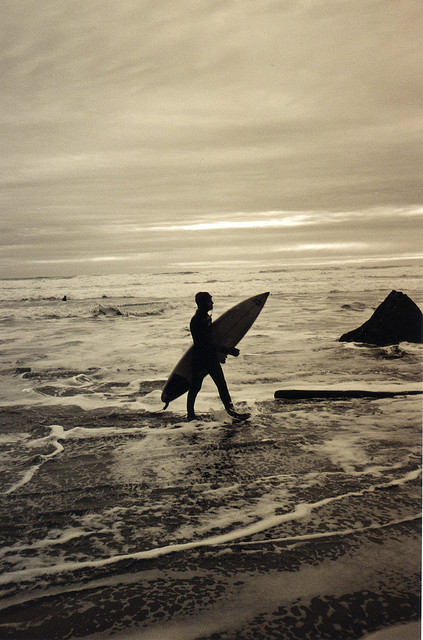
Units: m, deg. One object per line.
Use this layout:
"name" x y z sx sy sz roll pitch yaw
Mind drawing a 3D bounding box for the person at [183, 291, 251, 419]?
"person" -0.003 0.347 7.285 0.662 1.514 1.429 -1 14 -2

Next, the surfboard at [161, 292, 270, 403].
"surfboard" 0.130 0.190 7.741 0.223 0.546 2.745 -2 21 32
